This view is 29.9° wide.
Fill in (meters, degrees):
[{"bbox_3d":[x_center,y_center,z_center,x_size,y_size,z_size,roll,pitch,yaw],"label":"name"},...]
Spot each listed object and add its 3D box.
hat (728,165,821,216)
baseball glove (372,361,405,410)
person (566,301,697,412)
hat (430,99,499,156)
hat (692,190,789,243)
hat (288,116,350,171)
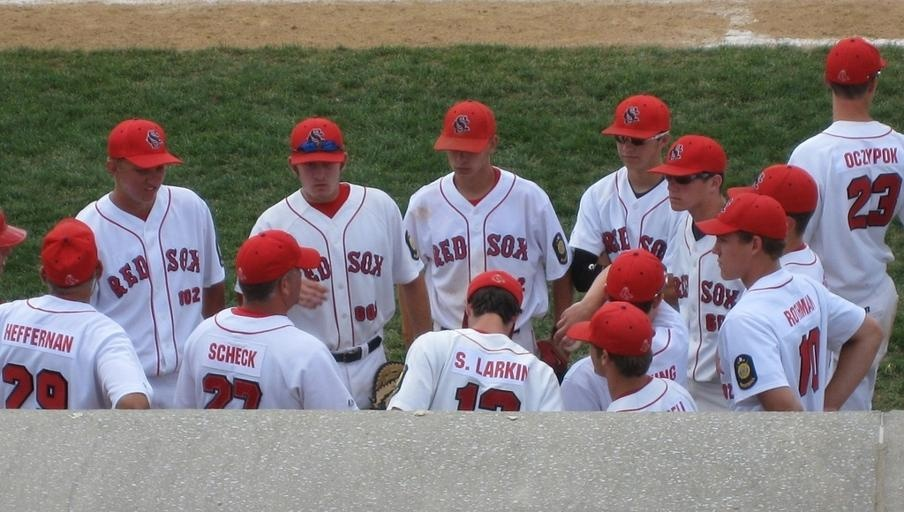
[{"bbox_3d":[4.381,-0.932,22.459,0.764,0.492,1.106,-7,-8,-41],"label":"hat"},{"bbox_3d":[-0.822,1.693,22.554,0.261,0.614,0.501,10,-19,23],"label":"baseball glove"},{"bbox_3d":[2.217,1.339,21.407,1.184,0.980,1.810,-27,38,-21],"label":"person"},{"bbox_3d":[0.184,-1.799,22.997,0.802,0.494,1.038,9,30,15],"label":"hat"},{"bbox_3d":[3.761,-0.566,21.923,1.313,0.534,0.713,5,16,-7],"label":"hat"},{"bbox_3d":[-1.801,-1.605,22.711,0.769,0.510,0.973,-1,21,-2],"label":"hat"}]
